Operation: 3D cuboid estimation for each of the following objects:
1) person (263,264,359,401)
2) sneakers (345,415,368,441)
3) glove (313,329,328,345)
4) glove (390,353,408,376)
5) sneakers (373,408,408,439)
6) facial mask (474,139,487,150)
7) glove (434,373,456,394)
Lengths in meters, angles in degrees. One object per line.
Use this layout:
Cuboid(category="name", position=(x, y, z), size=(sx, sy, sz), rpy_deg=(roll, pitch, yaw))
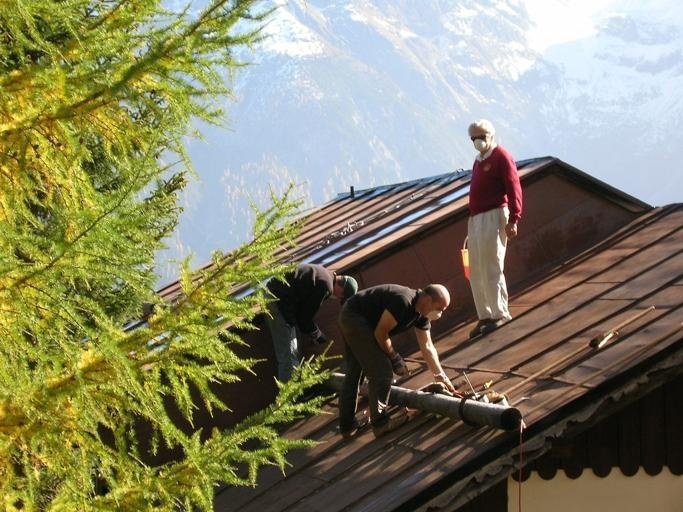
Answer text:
Cuboid(category="person", position=(-0.332, 0.783, 14.148), size=(0.923, 0.594, 1.345), rpy_deg=(2, -35, -19))
Cuboid(category="sneakers", position=(0.175, 1.673, 13.986), size=(0.109, 0.344, 0.139), rpy_deg=(7, -59, 28))
Cuboid(category="glove", position=(-0.215, 0.874, 15.050), size=(0.173, 0.086, 0.251), rpy_deg=(39, -4, 12))
Cuboid(category="glove", position=(0.580, 1.072, 13.682), size=(0.093, 0.146, 0.284), rpy_deg=(-17, -18, 10))
Cuboid(category="sneakers", position=(0.467, 1.629, 13.640), size=(0.103, 0.307, 0.135), rpy_deg=(32, -28, 47))
Cuboid(category="facial mask", position=(1.444, -1.161, 14.775), size=(0.102, 0.106, 0.095), rpy_deg=(0, -86, 29))
Cuboid(category="glove", position=(1.007, 1.225, 13.654), size=(0.217, 0.076, 0.153), rpy_deg=(52, -16, 2))
